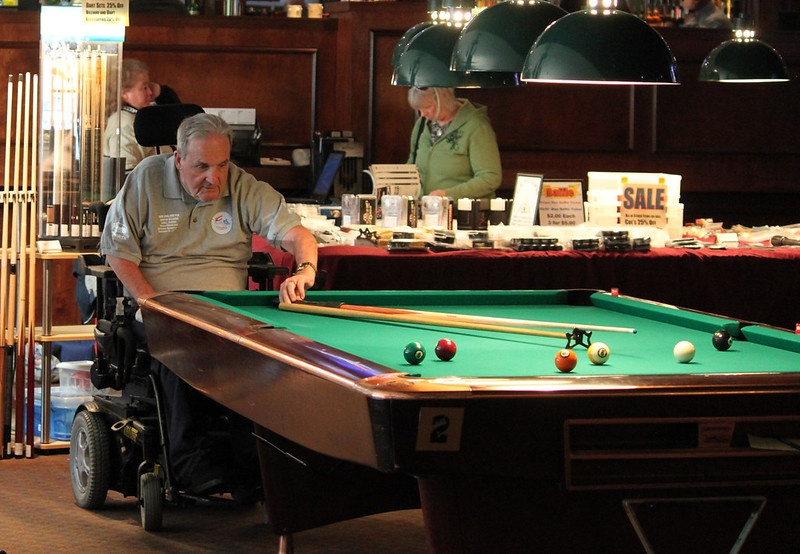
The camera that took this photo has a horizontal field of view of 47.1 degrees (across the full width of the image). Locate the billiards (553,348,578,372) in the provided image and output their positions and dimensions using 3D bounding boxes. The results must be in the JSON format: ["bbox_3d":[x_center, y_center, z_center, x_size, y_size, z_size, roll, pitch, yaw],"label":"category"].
[{"bbox_3d":[0.504,0.255,2.832,0.066,0.077,0.066,16,26,41],"label":"billiards"}]

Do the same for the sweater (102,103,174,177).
[{"bbox_3d":[-1.529,-0.786,5.324,0.273,0.377,0.511,-10,24,-28],"label":"sweater"}]

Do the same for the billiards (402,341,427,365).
[{"bbox_3d":[0.045,0.238,2.878,0.063,0.073,0.064,10,28,19],"label":"billiards"}]

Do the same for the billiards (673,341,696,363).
[{"bbox_3d":[0.916,0.245,2.954,0.066,0.067,0.077,0,-29,6],"label":"billiards"}]

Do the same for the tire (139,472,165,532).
[{"bbox_3d":[-1.118,1.008,4.131,0.083,0.235,0.221,0,16,-8],"label":"tire"}]

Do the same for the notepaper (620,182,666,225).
[{"bbox_3d":[1.467,-0.451,5.584,0.257,0.229,0.030,0,2,-10],"label":"notepaper"}]

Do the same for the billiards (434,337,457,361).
[{"bbox_3d":[0.146,0.231,2.933,0.064,0.064,0.074,1,42,-3],"label":"billiards"}]

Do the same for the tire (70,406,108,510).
[{"bbox_3d":[-1.473,0.866,4.371,0.106,0.346,0.396,-3,23,-26],"label":"tire"}]

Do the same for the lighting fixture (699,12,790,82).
[{"bbox_3d":[2.248,-1.474,6.004,0.569,0.337,0.566,-8,19,-12],"label":"lighting fixture"}]

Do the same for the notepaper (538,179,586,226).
[{"bbox_3d":[0.985,-0.449,5.639,0.293,0.294,0.025,0,-2,-6],"label":"notepaper"}]

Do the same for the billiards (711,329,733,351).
[{"bbox_3d":[1.109,0.211,3.190,0.065,0.073,0.064,25,25,13],"label":"billiards"}]

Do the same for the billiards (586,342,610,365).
[{"bbox_3d":[0.623,0.236,2.922,0.064,0.064,0.064,-15,7,-16],"label":"billiards"}]

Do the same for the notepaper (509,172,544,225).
[{"bbox_3d":[0.770,-0.455,5.590,0.191,0.310,0.301,4,11,7],"label":"notepaper"}]

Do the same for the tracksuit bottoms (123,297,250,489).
[{"bbox_3d":[-0.857,0.514,4.095,0.427,0.739,0.722,0,12,-16],"label":"tracksuit bottoms"}]
